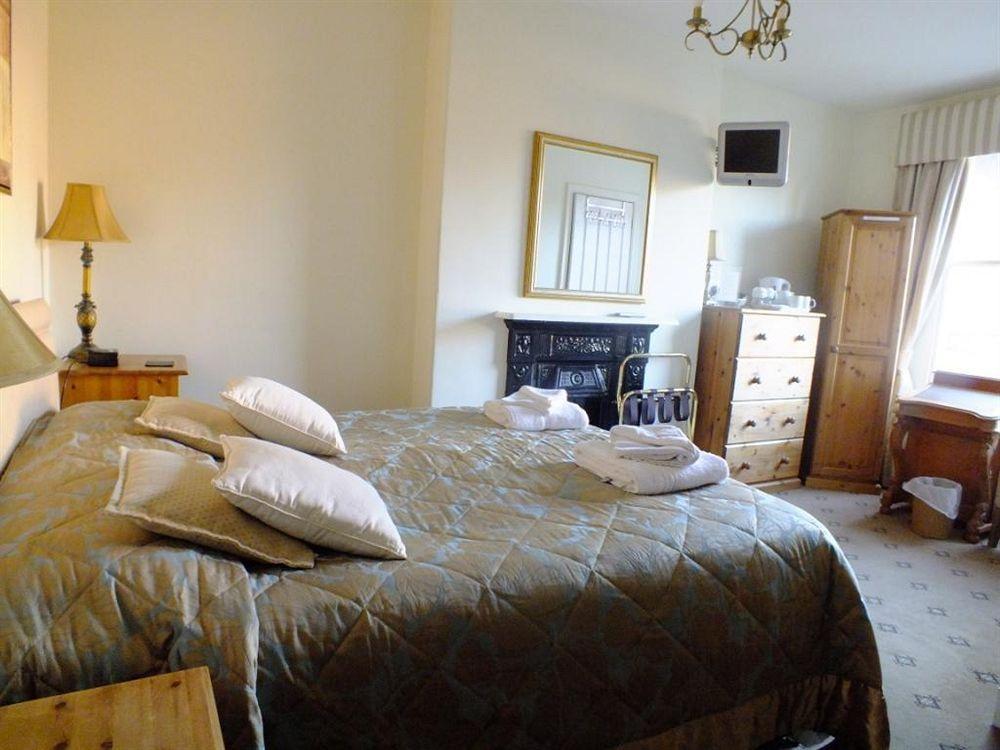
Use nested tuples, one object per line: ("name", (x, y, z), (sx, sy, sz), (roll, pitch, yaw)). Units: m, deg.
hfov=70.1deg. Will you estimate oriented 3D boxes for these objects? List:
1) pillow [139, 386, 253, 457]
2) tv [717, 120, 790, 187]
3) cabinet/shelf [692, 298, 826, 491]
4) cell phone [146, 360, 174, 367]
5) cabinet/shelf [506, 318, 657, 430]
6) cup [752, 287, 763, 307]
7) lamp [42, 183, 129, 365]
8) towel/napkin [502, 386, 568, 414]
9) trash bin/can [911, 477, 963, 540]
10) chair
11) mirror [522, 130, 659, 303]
("pillow", (-1.130, 0.139, 2.610), (0.259, 0.086, 0.290), (26, 3, 29))
("tv", (1.679, -1.476, 4.754), (0.433, 0.417, 0.055), (11, 33, 30))
("cabinet/shelf", (2.030, 0.214, 5.023), (0.478, 1.236, 0.745), (13, -9, -28))
("cell phone", (-1.737, -0.060, 3.645), (0.070, 0.018, 0.068), (3, 5, 13))
("cabinet/shelf", (0.458, -0.021, 4.284), (0.652, 0.627, 0.204), (0, 10, -21))
("cup", (1.817, -0.556, 5.086), (0.093, 0.151, 0.102), (2, 6, 0))
("lamp", (-2.076, -0.519, 3.593), (0.349, 0.876, 0.524), (-4, 11, -32))
("towel/napkin", (0.168, 0.109, 3.438), (0.160, 0.056, 0.175), (7, 10, 29))
("trash bin/can", (2.631, 0.797, 4.303), (0.216, 0.375, 0.229), (-15, 21, -41))
("chair", (0.979, 0.151, 4.285), (0.381, 0.516, 0.281), (-2, 9, 10))
("mirror", (0.545, -1.052, 4.584), (1.096, 1.188, 0.060), (0, 12, -28))
